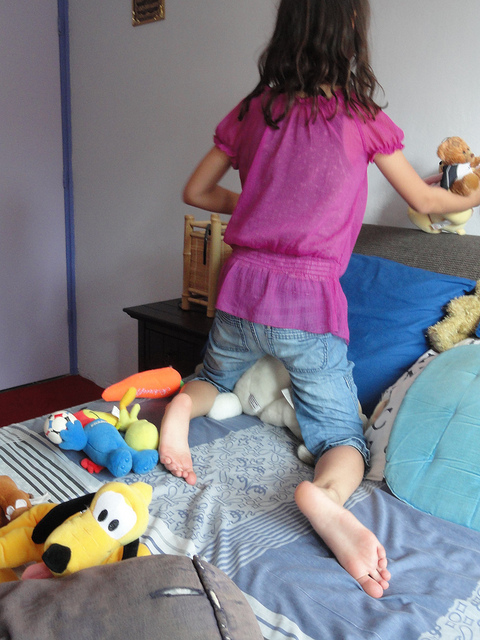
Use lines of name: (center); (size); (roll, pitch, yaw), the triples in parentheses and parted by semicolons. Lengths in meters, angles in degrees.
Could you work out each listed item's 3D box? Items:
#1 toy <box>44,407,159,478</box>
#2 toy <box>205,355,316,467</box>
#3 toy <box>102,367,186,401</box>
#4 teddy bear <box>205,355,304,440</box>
toy: (-0.269, 0.231, 1.044); (0.212, 0.065, 0.143); (21, 5, 30)
toy: (0.051, 0.215, 1.274); (0.224, 0.216, 0.073); (31, 4, 43)
toy: (-0.238, 0.149, 1.382); (0.210, 0.074, 0.073); (-13, 46, -27)
teddy bear: (0.042, 0.177, 1.266); (0.181, 0.191, 0.064); (22, -9, 38)
